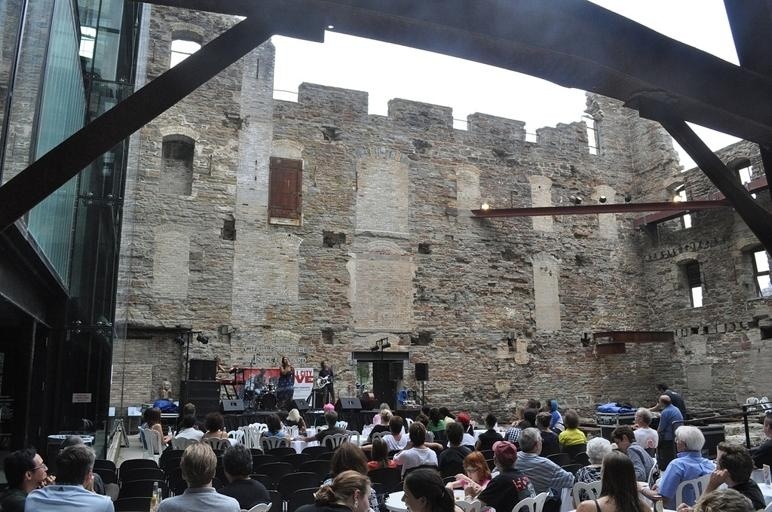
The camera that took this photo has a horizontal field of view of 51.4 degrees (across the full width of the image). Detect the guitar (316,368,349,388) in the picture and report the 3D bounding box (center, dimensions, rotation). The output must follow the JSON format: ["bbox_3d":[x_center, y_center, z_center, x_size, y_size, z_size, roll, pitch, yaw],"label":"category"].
[{"bbox_3d":[-1.410,3.182,20.465,0.824,0.255,0.105,-18,-8,-45],"label":"guitar"}]

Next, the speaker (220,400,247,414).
[{"bbox_3d":[-3.256,3.246,17.088,0.434,0.238,0.309,7,-18,-36],"label":"speaker"}]

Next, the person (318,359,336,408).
[{"bbox_3d":[-1.498,3.220,19.934,0.551,1.006,0.143,13,-21,-42],"label":"person"}]

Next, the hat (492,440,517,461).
[{"bbox_3d":[1.427,2.367,9.606,0.216,0.145,0.268,2,9,-1],"label":"hat"}]
